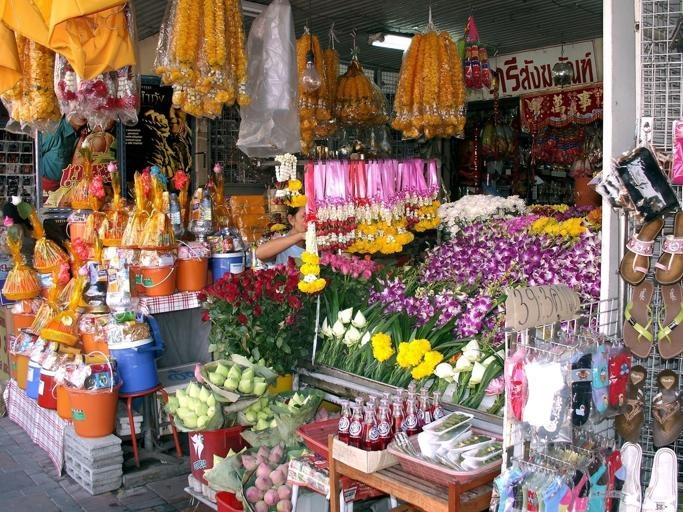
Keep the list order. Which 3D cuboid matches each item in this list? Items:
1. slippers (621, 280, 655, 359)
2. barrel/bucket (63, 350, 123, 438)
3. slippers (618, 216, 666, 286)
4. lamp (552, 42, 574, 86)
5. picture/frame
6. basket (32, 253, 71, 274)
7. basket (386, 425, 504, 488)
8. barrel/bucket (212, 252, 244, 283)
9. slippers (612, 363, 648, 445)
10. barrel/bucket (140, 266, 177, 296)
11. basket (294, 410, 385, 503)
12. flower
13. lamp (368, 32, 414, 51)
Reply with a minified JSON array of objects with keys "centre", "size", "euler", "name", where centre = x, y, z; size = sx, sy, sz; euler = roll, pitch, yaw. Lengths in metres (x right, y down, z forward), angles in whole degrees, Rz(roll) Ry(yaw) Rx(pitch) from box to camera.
[{"centre":[1.220,0.266,2.430],"size":[0.119,0.372,0.060],"euler":[2,-12,40],"name":"slippers"},{"centre":[-1.619,0.915,3.835],"size":[0.334,0.538,0.216],"euler":[1,7,28],"name":"barrel/bucket"},{"centre":[1.256,0.000,2.467],"size":[0.118,0.322,0.081],"euler":[23,3,32],"name":"slippers"},{"centre":[2.664,-2.313,7.080],"size":[0.245,0.488,0.547],"euler":[0,7,21],"name":"lamp"},{"centre":[-2.359,-0.758,5.236],"size":[0.936,1.155,0.061],"euler":[-1,-7,-13],"name":"picture/frame"},{"centre":[-2.306,0.067,4.715],"size":[0.325,0.143,0.191],"euler":[3,9,34],"name":"basket"},{"centre":[0.419,0.831,2.397],"size":[0.273,0.077,0.267],"euler":[-12,15,-41],"name":"basket"},{"centre":[-0.879,0.082,4.565],"size":[0.226,0.224,0.239],"euler":[1,5,0],"name":"barrel/bucket"},{"centre":[1.171,0.608,2.384],"size":[0.118,0.369,0.083],"euler":[12,11,37],"name":"slippers"},{"centre":[-1.311,0.173,4.261],"size":[0.210,0.180,0.220],"euler":[2,-2,0],"name":"barrel/bucket"},{"centre":[-0.080,0.990,2.791],"size":[0.296,0.079,0.457],"euler":[-6,16,-33],"name":"basket"},{"centre":[0.371,0.246,3.403],"size":[2.051,0.856,1.065],"euler":[1,8,24],"name":"flower"},{"centre":[0.514,-2.203,6.006],"size":[0.283,0.101,0.594],"euler":[4,10,38],"name":"lamp"}]
